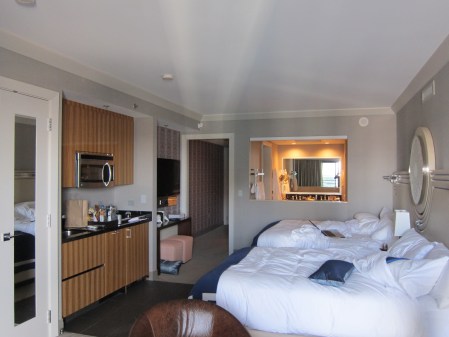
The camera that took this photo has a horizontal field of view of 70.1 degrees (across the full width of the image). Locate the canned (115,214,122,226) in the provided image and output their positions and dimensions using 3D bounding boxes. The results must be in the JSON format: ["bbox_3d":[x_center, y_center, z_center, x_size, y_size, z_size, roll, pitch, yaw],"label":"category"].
[{"bbox_3d":[-1.626,0.787,4.888,0.104,0.167,0.113,2,3,30],"label":"canned"}]

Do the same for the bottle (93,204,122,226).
[{"bbox_3d":[-1.825,0.723,4.960,0.257,0.166,0.486,1,-4,7],"label":"bottle"}]

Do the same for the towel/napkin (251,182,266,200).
[{"bbox_3d":[0.688,0.466,6.690,0.115,0.358,0.388,4,5,43],"label":"towel/napkin"}]

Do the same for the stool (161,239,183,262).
[{"bbox_3d":[-0.978,1.489,5.926,0.349,0.315,0.356,-1,0,14],"label":"stool"}]

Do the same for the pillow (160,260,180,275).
[{"bbox_3d":[-0.955,1.724,5.619,0.237,0.072,0.233,1,10,7],"label":"pillow"}]

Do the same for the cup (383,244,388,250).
[{"bbox_3d":[2.248,1.090,4.474,0.066,0.073,0.066,1,-5,0],"label":"cup"}]

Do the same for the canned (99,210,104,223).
[{"bbox_3d":[-1.860,0.720,4.841,0.074,0.147,0.262,-6,9,-21],"label":"canned"}]

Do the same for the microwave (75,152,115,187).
[{"bbox_3d":[-1.786,0.032,4.738,0.732,0.465,0.352,1,1,18],"label":"microwave"}]

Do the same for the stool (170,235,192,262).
[{"bbox_3d":[-0.757,1.544,6.236,0.419,0.456,0.433,0,1,25],"label":"stool"}]

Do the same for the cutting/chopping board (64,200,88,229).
[{"bbox_3d":[-2.110,0.629,4.406,0.123,0.371,0.287,-12,-14,31],"label":"cutting/chopping board"}]
